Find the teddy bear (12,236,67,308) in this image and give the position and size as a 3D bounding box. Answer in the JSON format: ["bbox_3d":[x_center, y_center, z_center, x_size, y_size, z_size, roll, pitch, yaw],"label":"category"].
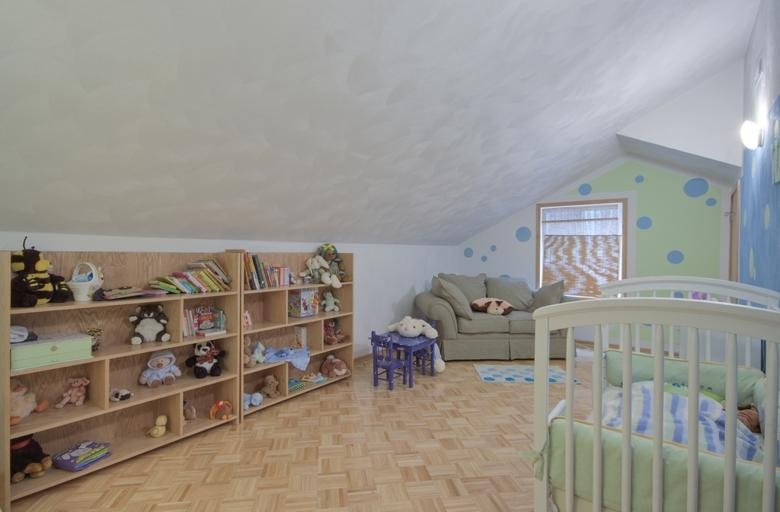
[{"bbox_3d":[-2.460,0.099,3.562,0.326,0.472,0.392,5,3,12],"label":"teddy bear"}]

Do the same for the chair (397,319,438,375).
[{"bbox_3d":[0.288,0.958,5.356,0.552,0.625,0.378,-7,-10,39],"label":"chair"}]

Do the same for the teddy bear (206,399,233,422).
[{"bbox_3d":[-1.393,1.271,4.265,0.141,0.085,0.169,0,5,-20],"label":"teddy bear"}]

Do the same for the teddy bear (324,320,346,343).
[{"bbox_3d":[-0.559,0.771,5.277,0.167,0.095,0.264,-1,9,-32],"label":"teddy bear"}]

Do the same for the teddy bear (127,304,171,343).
[{"bbox_3d":[-1.880,0.524,4.044,0.296,0.319,0.183,-5,11,-10],"label":"teddy bear"}]

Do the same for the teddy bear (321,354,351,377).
[{"bbox_3d":[-0.555,1.114,5.249,0.254,0.099,0.209,0,3,-17],"label":"teddy bear"}]

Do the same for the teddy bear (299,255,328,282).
[{"bbox_3d":[-0.729,0.146,5.134,0.224,0.287,0.104,5,-4,-10],"label":"teddy bear"}]

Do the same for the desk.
[{"bbox_3d":[0.128,1.068,5.385,0.471,0.851,0.514,4,27,26],"label":"desk"}]

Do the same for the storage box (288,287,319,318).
[{"bbox_3d":[-0.805,0.421,5.065,0.264,0.335,0.355,-2,-2,22],"label":"storage box"}]

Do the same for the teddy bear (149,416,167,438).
[{"bbox_3d":[-1.787,1.327,4.013,0.106,0.153,0.162,1,-12,2],"label":"teddy bear"}]

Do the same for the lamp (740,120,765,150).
[{"bbox_3d":[2.895,-0.969,4.118,0.143,0.229,0.639,10,15,32],"label":"lamp"}]

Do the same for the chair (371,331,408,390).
[{"bbox_3d":[0.001,1.032,5.223,0.360,0.525,0.616,0,13,-2],"label":"chair"}]

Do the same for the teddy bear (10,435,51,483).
[{"bbox_3d":[-2.455,1.385,3.522,0.221,0.249,0.113,-5,15,-24],"label":"teddy bear"}]

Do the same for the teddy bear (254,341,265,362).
[{"bbox_3d":[-1.178,0.871,4.705,0.087,0.147,0.299,-2,13,-10],"label":"teddy bear"}]

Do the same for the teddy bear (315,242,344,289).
[{"bbox_3d":[-0.604,0.083,5.300,0.196,0.479,0.237,-13,-1,40],"label":"teddy bear"}]

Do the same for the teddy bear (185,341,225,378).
[{"bbox_3d":[-1.511,0.852,4.315,0.300,0.271,0.181,-9,9,11],"label":"teddy bear"}]

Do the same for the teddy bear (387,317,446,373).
[{"bbox_3d":[0.276,0.958,5.417,0.581,0.606,0.471,6,13,43],"label":"teddy bear"}]

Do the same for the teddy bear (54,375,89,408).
[{"bbox_3d":[-2.279,0.974,3.755,0.201,0.233,0.185,11,-21,-35],"label":"teddy bear"}]

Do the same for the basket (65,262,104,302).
[{"bbox_3d":[-2.181,0.185,3.773,0.228,0.305,0.290,-1,-12,0],"label":"basket"}]

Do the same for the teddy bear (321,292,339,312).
[{"bbox_3d":[-0.600,0.476,5.303,0.180,0.193,0.068,-4,-5,-32],"label":"teddy bear"}]

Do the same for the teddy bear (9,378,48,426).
[{"bbox_3d":[-2.486,0.994,3.546,0.209,0.217,0.256,-8,15,-31],"label":"teddy bear"}]

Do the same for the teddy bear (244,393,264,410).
[{"bbox_3d":[-1.187,1.268,4.510,0.165,0.088,0.188,-2,13,-13],"label":"teddy bear"}]

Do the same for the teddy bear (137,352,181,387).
[{"bbox_3d":[-1.830,0.896,4.121,0.293,0.265,0.192,-2,5,-25],"label":"teddy bear"}]
